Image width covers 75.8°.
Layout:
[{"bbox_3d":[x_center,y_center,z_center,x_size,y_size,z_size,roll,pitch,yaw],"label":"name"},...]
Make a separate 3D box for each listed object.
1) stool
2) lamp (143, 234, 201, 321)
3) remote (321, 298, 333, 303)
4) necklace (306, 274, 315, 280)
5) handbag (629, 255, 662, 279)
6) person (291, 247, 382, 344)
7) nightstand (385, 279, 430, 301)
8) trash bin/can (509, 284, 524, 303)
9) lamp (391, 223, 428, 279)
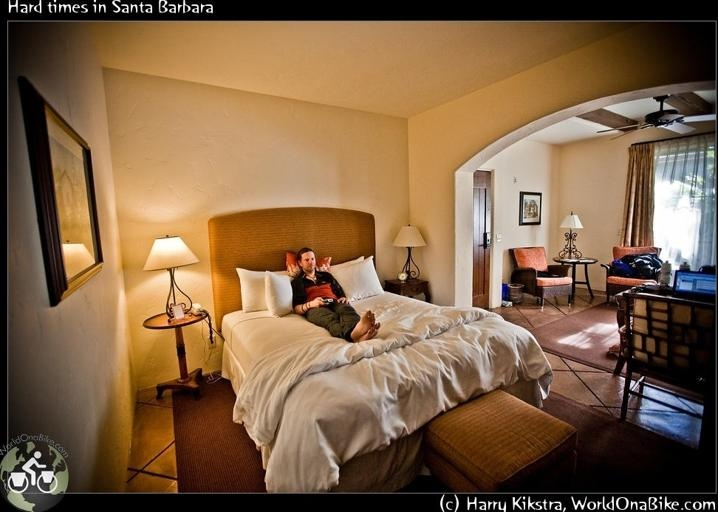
[{"bbox_3d":[0.838,1.157,2.824,0.632,0.277,0.624,-9,8,-30],"label":"stool"},{"bbox_3d":[-1.583,0.174,3.960,0.406,0.680,0.448,-3,5,-20],"label":"lamp"},{"bbox_3d":[-0.265,0.393,4.053,0.043,0.017,0.054,-7,14,-34],"label":"remote"},{"bbox_3d":[-0.458,0.202,4.394,0.069,0.026,0.050,6,3,-34],"label":"necklace"},{"bbox_3d":[3.772,0.142,6.070,0.337,0.304,0.366,1,5,31],"label":"handbag"},{"bbox_3d":[-0.268,0.331,4.056,0.508,0.548,1.316,-9,17,-22],"label":"person"},{"bbox_3d":[0.565,0.316,5.310,0.387,0.371,0.285,-7,11,-38],"label":"nightstand"},{"bbox_3d":[2.219,0.531,6.539,0.233,0.248,0.234,-1,6,3],"label":"trash bin/can"},{"bbox_3d":[0.587,-0.043,5.370,0.369,0.641,0.401,-4,6,-30],"label":"lamp"}]
